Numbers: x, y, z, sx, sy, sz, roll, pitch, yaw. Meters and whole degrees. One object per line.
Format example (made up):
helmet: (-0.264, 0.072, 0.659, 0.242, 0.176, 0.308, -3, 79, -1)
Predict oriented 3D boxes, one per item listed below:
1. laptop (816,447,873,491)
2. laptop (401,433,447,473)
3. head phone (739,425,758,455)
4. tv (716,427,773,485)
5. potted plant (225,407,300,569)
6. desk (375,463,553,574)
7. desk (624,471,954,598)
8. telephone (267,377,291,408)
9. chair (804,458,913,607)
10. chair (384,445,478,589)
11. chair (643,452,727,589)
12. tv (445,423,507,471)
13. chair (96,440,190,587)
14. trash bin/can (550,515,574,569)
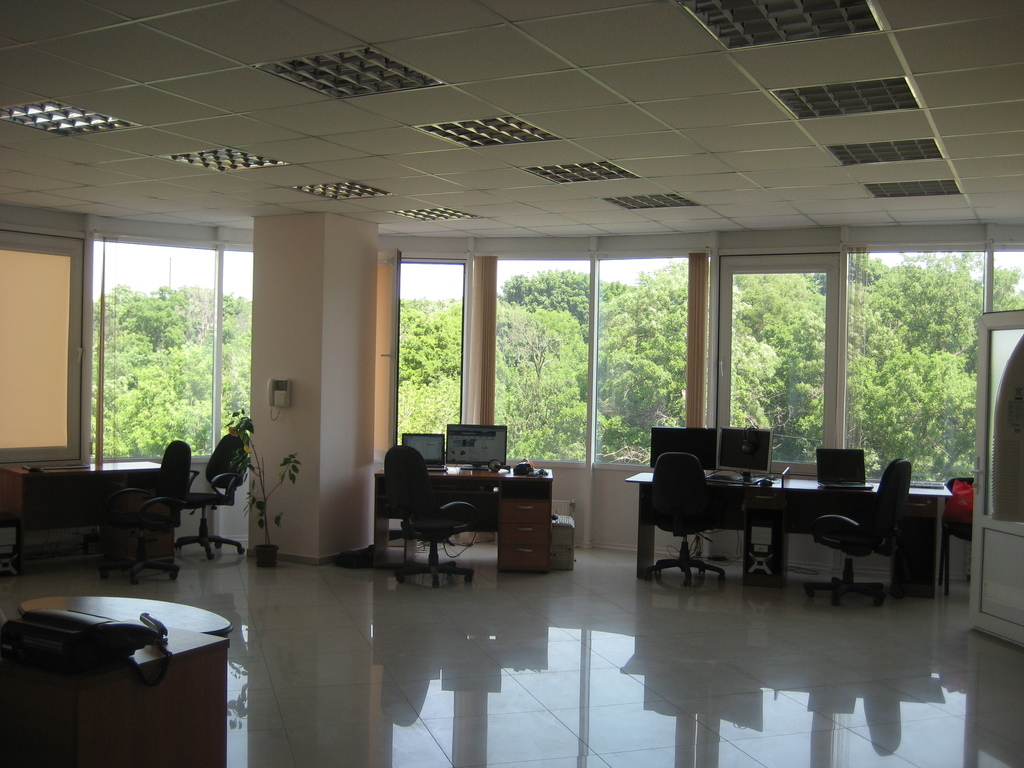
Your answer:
laptop: (3.285, 0.852, 8.311, 0.497, 0.337, 0.345, 1, 2, 16)
laptop: (-0.973, 0.740, 9.003, 0.538, 0.360, 0.367, 2, 5, 0)
head phone: (2.451, 0.604, 8.703, 0.222, 0.387, 0.219, 0, -3, 15)
tv: (2.444, 0.739, 8.651, 0.569, 0.549, 0.200, 2, -5, 41)
potted plant: (-2.725, 1.103, 8.962, 0.538, 1.602, 0.931, -2, 4, -44)
desk: (-0.519, 1.494, 8.984, 1.832, 1.087, 0.907, 1, -3, 1)
desk: (2.482, 1.321, 8.765, 2.446, 0.836, 0.772, -7, -6, 17)
telephone: (-2.496, 0.100, 8.899, 0.317, 0.333, 0.175, -3, -7, 19)
chair: (3.323, 1.373, 7.870, 0.980, 1.363, 0.692, -1, 4, -32)
chair: (-0.839, 1.286, 8.458, 0.924, 1.366, 0.966, 1, 3, 5)
chair: (1.784, 1.353, 8.470, 0.768, 1.339, 0.643, 2, 3, 15)
tv: (-0.404, 0.719, 9.203, 0.501, 0.334, 0.143, 0, -6, 7)
chair: (-3.680, 1.253, 8.309, 0.761, 1.296, 0.835, 5, -5, -32)
trash bin/can: (0.538, 1.728, 8.948, 0.255, 0.490, 0.410, 1, 3, 3)
